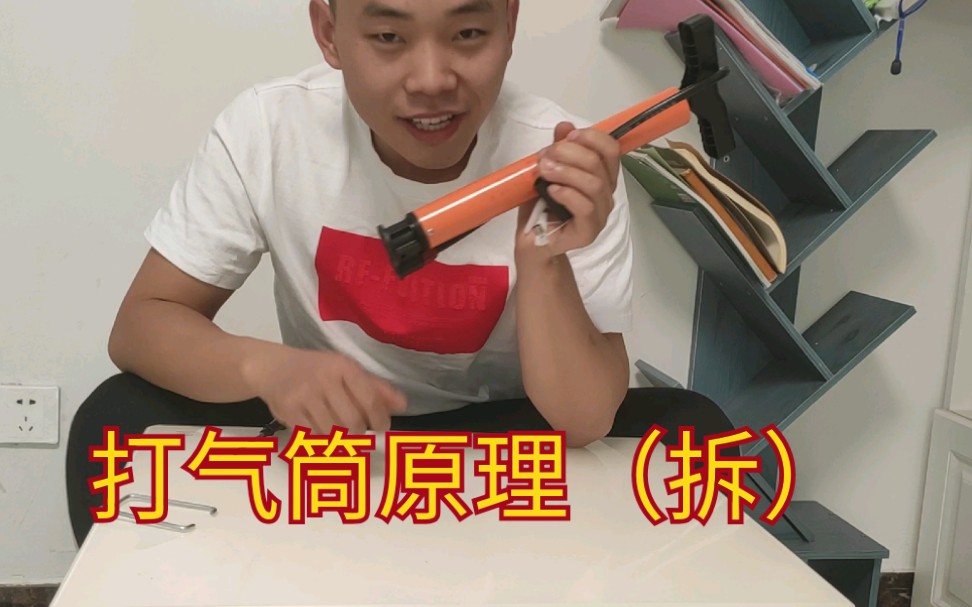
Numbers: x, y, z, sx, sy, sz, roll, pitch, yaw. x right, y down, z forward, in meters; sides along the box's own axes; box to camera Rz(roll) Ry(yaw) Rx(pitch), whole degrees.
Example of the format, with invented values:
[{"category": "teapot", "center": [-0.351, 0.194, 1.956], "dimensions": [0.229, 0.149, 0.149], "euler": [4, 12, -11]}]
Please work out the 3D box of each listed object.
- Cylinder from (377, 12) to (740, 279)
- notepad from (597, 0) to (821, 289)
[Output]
[{"category": "Cylinder", "center": [0.135, -0.336, 1.743], "dimensions": [0.757, 0.374, 0.133], "euler": [-27, 50, -1]}, {"category": "notepad", "center": [0.542, -0.384, 1.786], "dimensions": [0.136, 0.577, 0.569], "euler": [-29, 50, -7]}]
